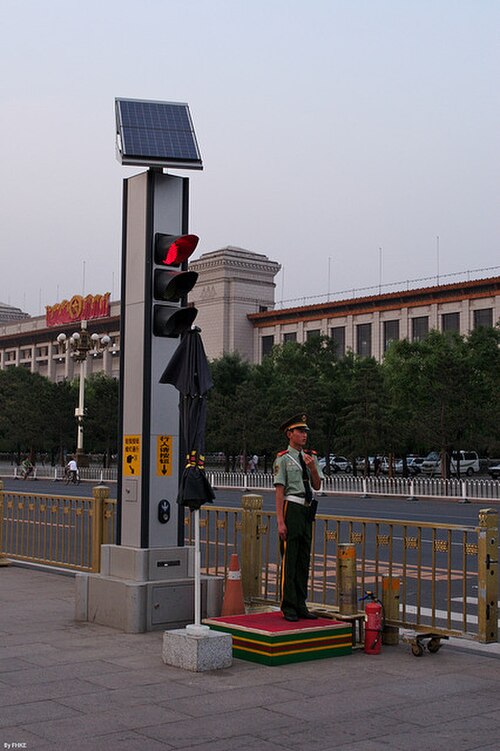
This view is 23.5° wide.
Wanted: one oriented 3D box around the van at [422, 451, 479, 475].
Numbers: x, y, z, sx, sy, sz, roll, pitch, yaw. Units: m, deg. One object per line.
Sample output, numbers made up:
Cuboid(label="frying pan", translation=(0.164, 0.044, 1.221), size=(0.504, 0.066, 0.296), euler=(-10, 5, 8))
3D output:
Cuboid(label="van", translation=(9.878, 4.311, 58.570), size=(2.126, 1.289, 1.491), euler=(11, -14, -40))

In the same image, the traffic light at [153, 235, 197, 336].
Cuboid(label="traffic light", translation=(-0.625, -0.837, 10.428), size=(0.376, 0.972, 0.649), euler=(3, -5, -26))

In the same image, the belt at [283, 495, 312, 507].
Cuboid(label="belt", translation=(0.377, 0.998, 9.538), size=(0.204, 0.082, 0.063), euler=(4, -6, -29))

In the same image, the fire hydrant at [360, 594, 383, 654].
Cuboid(label="fire hydrant", translation=(0.977, 1.966, 9.501), size=(0.130, 0.480, 0.267), euler=(0, -5, 6))

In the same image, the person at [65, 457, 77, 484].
Cuboid(label="person", translation=(-7.112, 3.824, 47.937), size=(0.422, 0.681, 0.901), euler=(0, -3, -14))

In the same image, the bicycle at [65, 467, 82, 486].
Cuboid(label="bicycle", translation=(-7.094, 4.095, 48.403), size=(0.484, 0.737, 0.960), euler=(2, -2, -44))

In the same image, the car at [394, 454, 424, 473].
Cuboid(label="car", translation=(8.608, 4.805, 64.751), size=(1.004, 1.216, 2.422), euler=(-5, -11, 28))

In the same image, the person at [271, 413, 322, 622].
Cuboid(label="person", translation=(0.376, 1.130, 9.573), size=(0.405, 1.642, 0.302), euler=(2, -5, -18))

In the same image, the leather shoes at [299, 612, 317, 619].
Cuboid(label="leather shoes", translation=(0.468, 1.935, 9.576), size=(0.140, 0.072, 0.057), euler=(0, -3, -23))
